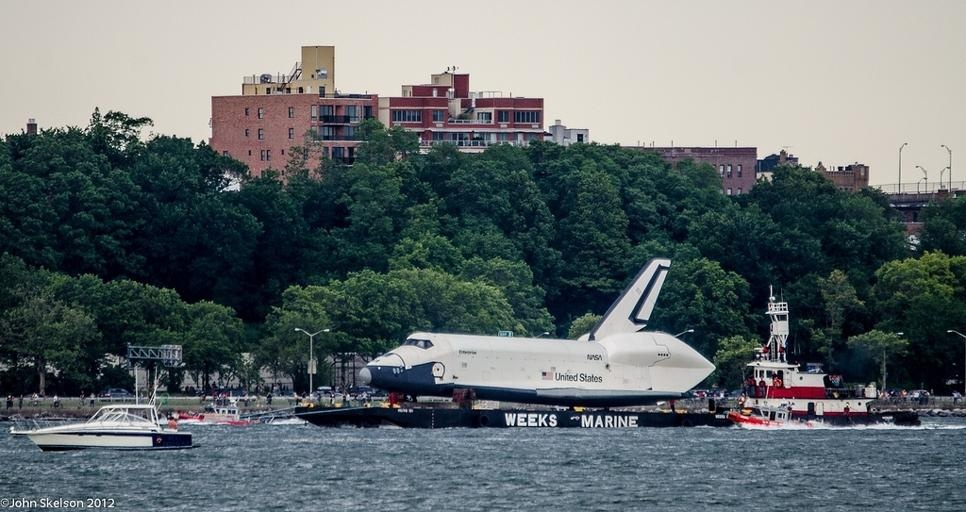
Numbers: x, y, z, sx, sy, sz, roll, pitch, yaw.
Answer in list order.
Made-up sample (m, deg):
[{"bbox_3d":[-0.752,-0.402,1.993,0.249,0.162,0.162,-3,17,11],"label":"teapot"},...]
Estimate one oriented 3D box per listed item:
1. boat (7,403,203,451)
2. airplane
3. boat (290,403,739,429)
[{"bbox_3d":[-31.214,14.555,195.281,12.508,3.344,3.618,0,5,-6],"label":"boat"},{"bbox_3d":[2.731,7.971,210.675,31.631,12.388,12.164,3,-5,-24],"label":"airplane"},{"bbox_3d":[2.112,14.699,206.285,37.235,2.161,2.080,1,-7,-8],"label":"boat"}]
